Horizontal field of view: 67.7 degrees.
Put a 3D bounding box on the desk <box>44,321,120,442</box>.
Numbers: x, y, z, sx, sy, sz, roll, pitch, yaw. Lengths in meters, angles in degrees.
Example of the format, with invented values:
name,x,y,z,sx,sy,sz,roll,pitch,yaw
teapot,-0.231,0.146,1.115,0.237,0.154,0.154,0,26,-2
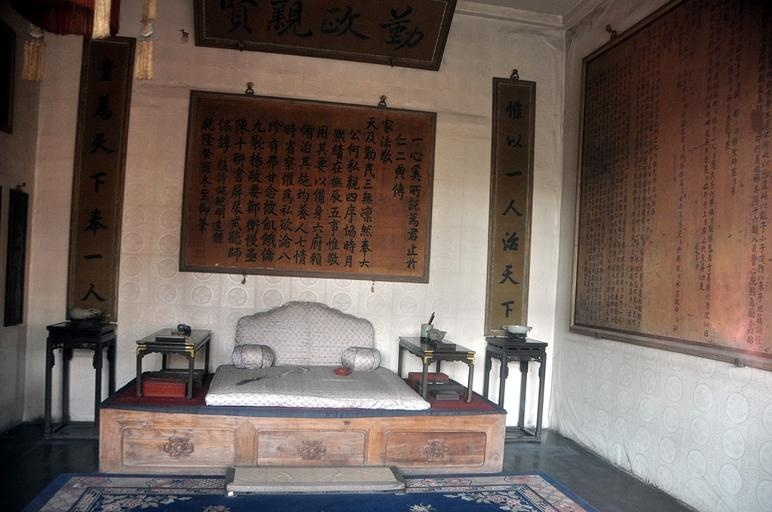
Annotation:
name,x,y,z,sx,sy,sz,roll,pitch,yaw
desk,-2.942,1.157,5.522,0.613,1.092,0.618,1,-2,-21

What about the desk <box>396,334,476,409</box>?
name,x,y,z,sx,sy,sz,roll,pitch,yaw
desk,0.475,1.084,5.692,0.625,0.546,0.830,1,-2,-7

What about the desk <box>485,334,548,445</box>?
name,x,y,z,sx,sy,sz,roll,pitch,yaw
desk,1.359,1.355,6.010,0.626,1.066,0.580,0,-2,-3

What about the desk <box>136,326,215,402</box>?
name,x,y,z,sx,sy,sz,roll,pitch,yaw
desk,-1.983,0.967,5.457,0.567,0.403,0.905,2,0,-3

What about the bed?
name,x,y,z,sx,sy,sz,roll,pitch,yaw
bed,-0.772,1.069,5.457,1.457,0.560,1.033,1,-3,-9

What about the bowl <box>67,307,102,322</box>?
name,x,y,z,sx,sy,sz,roll,pitch,yaw
bowl,-2.909,0.560,5.553,0.191,0.078,0.163,-4,4,-8
